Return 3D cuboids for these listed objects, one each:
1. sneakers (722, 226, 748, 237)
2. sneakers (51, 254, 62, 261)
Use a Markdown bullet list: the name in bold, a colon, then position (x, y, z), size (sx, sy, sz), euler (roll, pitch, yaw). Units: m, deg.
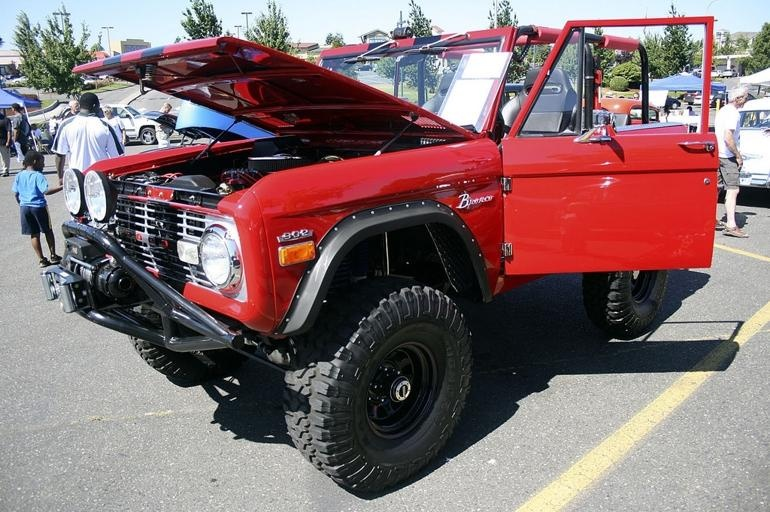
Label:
- **sneakers**: position (5.359, -0.365, 8.636), size (0.386, 0.143, 0.176), euler (0, 10, 28)
- **sneakers**: position (-4.645, 0.027, 7.923), size (0.231, 0.076, 0.101), euler (-2, -8, 26)
